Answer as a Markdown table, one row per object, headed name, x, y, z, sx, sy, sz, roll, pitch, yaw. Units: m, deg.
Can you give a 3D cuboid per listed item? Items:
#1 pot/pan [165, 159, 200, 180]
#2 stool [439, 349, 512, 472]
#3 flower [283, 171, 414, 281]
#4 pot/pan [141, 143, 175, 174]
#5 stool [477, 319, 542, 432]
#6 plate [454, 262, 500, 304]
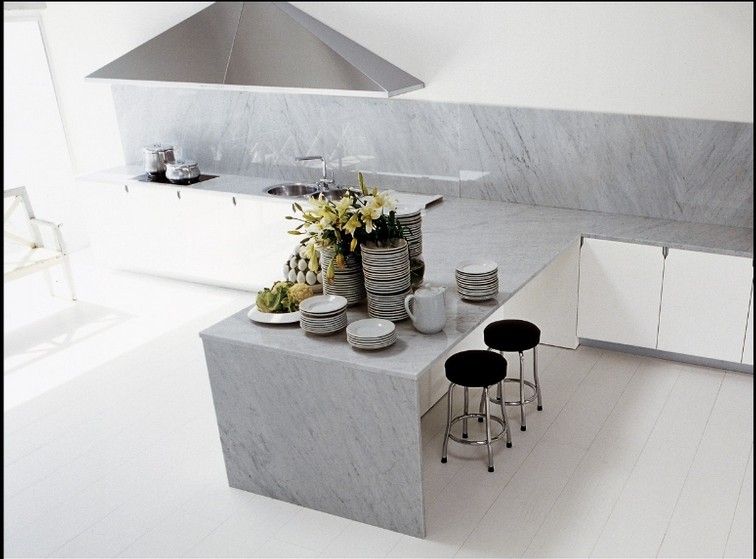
| name | x | y | z | sx | sy | sz | roll | pitch | yaw |
| --- | --- | --- | --- | --- | --- | --- | --- | --- | --- |
| pot/pan | -2.007 | -1.107 | 5.256 | 0.336 | 0.194 | 0.232 | -4 | 15 | -10 |
| stool | 0.591 | 0.768 | 3.089 | 0.465 | 0.619 | 0.453 | -6 | 10 | -13 |
| flower | -0.159 | -0.314 | 2.695 | 0.430 | 0.419 | 0.528 | -34 | 16 | -36 |
| pot/pan | -2.248 | -1.290 | 5.396 | 0.320 | 0.300 | 0.317 | 17 | 30 | 31 |
| stool | 0.889 | 0.612 | 3.440 | 0.450 | 0.646 | 0.469 | -1 | 11 | 5 |
| plate | 0.536 | 0.028 | 2.838 | 0.218 | 0.135 | 0.220 | -9 | 26 | -7 |
